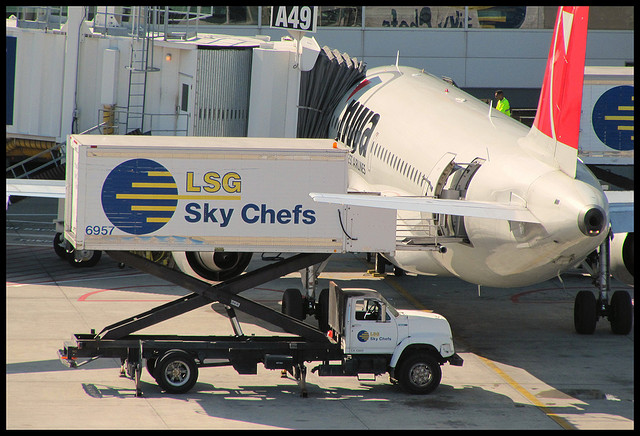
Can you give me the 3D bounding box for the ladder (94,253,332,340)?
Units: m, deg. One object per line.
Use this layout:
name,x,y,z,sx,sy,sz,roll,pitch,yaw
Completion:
ladder,-3.974,3.038,52.272,11.565,0.858,0.585,-14,6,-6

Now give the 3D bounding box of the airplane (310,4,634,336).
airplane,6.608,-0.497,54.032,14.019,7.212,13.522,1,14,-15
